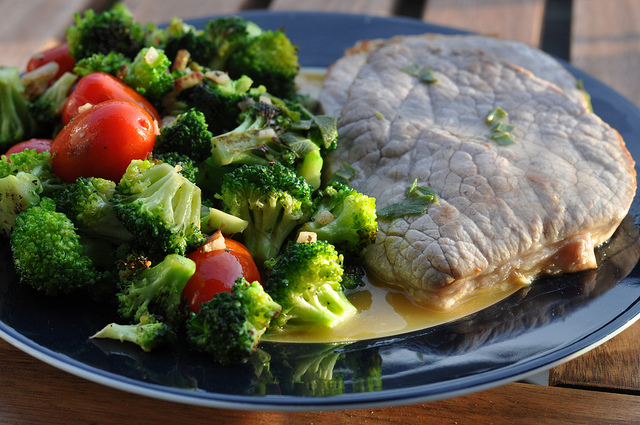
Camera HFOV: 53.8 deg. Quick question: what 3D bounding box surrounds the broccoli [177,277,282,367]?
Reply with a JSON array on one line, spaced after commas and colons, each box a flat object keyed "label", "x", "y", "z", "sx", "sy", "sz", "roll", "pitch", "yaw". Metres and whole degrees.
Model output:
[{"label": "broccoli", "x": -0.388, "y": 0.485, "z": 2.818, "sx": 0.382, "sy": 0.329, "sz": 0.210, "roll": -48, "pitch": 61, "yaw": 7}]

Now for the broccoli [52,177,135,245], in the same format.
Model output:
[{"label": "broccoli", "x": -1.068, "y": -0.003, "z": 2.980, "sx": 0.248, "sy": 0.162, "sz": 0.188, "roll": 21, "pitch": 83, "yaw": 11}]

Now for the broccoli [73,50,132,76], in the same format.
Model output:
[{"label": "broccoli", "x": -1.238, "y": -0.839, "z": 3.628, "sx": 0.271, "sy": 0.190, "sz": 0.142, "roll": -17, "pitch": 85, "yaw": -9}]

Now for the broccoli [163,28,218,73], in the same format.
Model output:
[{"label": "broccoli", "x": -0.785, "y": -1.007, "z": 3.875, "sx": 0.313, "sy": 0.155, "sz": 0.254, "roll": 16, "pitch": 68, "yaw": 6}]

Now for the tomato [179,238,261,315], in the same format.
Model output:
[{"label": "tomato", "x": -0.460, "y": 0.314, "z": 3.061, "sx": 0.314, "sy": 0.326, "sz": 0.318, "roll": -15, "pitch": 65, "yaw": 27}]

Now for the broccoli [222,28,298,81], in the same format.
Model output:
[{"label": "broccoli", "x": -0.347, "y": -0.934, "z": 4.016, "sx": 0.435, "sy": 0.329, "sz": 0.157, "roll": -10, "pitch": 86, "yaw": -48}]

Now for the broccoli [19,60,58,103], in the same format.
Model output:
[{"label": "broccoli", "x": -1.743, "y": -0.799, "z": 3.918, "sx": 0.176, "sy": 0.113, "sz": 0.278, "roll": 37, "pitch": 65, "yaw": -12}]

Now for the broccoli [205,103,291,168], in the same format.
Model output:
[{"label": "broccoli", "x": -0.363, "y": -0.392, "z": 3.278, "sx": 0.367, "sy": 0.326, "sz": 0.174, "roll": -20, "pitch": 53, "yaw": -26}]

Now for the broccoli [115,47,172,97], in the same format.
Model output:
[{"label": "broccoli", "x": -0.983, "y": -0.766, "z": 3.557, "sx": 0.241, "sy": 0.131, "sz": 0.285, "roll": 29, "pitch": 83, "yaw": 6}]

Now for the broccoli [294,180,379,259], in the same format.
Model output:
[{"label": "broccoli", "x": 0.137, "y": 0.050, "z": 3.243, "sx": 0.358, "sy": 0.375, "sz": 0.360, "roll": -16, "pitch": 46, "yaw": 26}]

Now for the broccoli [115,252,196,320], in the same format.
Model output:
[{"label": "broccoli", "x": -0.764, "y": 0.271, "z": 2.926, "sx": 0.322, "sy": 0.136, "sz": 0.280, "roll": -3, "pitch": 41, "yaw": 5}]

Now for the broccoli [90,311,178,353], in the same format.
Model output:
[{"label": "broccoli", "x": -0.794, "y": 0.526, "z": 2.786, "sx": 0.335, "sy": 0.249, "sz": 0.118, "roll": 6, "pitch": 101, "yaw": -4}]

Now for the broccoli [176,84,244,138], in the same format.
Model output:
[{"label": "broccoli", "x": -0.627, "y": -0.549, "z": 3.547, "sx": 0.325, "sy": 0.139, "sz": 0.259, "roll": 43, "pitch": 31, "yaw": 15}]

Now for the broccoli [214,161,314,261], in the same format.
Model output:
[{"label": "broccoli", "x": -0.307, "y": 0.020, "z": 3.187, "sx": 0.408, "sy": 0.387, "sz": 0.405, "roll": -2, "pitch": 73, "yaw": -16}]

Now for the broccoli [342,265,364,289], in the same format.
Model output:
[{"label": "broccoli", "x": 0.157, "y": 0.314, "z": 3.132, "sx": 0.081, "sy": 0.038, "sz": 0.106, "roll": 1, "pitch": 43, "yaw": -4}]

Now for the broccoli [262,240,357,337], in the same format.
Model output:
[{"label": "broccoli", "x": -0.044, "y": 0.352, "z": 2.984, "sx": 0.428, "sy": 0.376, "sz": 0.366, "roll": -29, "pitch": 60, "yaw": -21}]
